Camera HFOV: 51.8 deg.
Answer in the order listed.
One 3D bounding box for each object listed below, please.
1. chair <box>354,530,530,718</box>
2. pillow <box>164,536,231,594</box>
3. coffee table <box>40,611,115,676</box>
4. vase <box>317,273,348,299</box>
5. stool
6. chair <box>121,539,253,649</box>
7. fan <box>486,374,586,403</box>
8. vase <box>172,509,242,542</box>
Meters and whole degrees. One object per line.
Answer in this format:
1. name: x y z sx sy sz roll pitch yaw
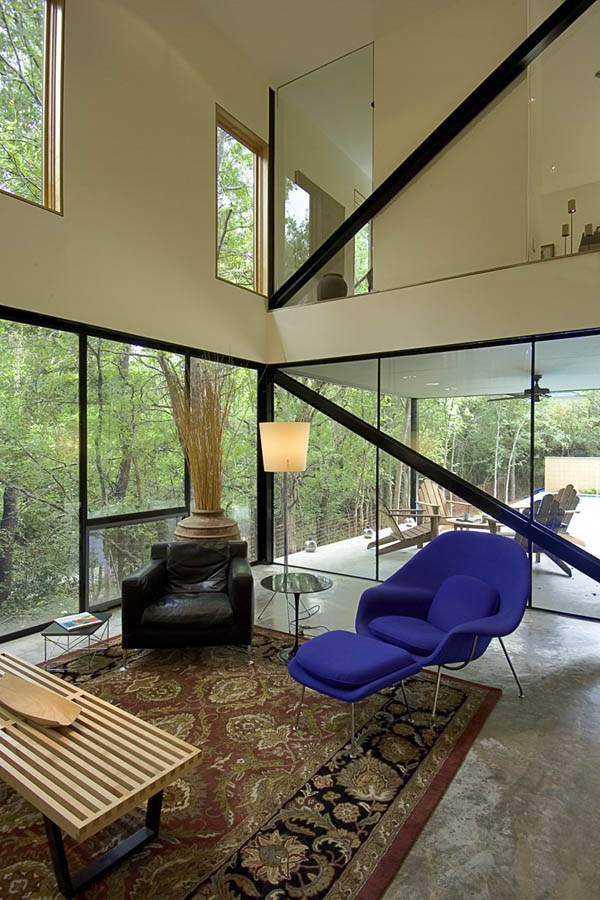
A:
1. chair: 0.860 0.780 3.265 0.805 0.837 0.928 -3 3 -36
2. pillow: -0.690 0.784 4.162 0.321 0.326 0.109 -1 -25 -10
3. coffee table: -1.352 1.147 3.739 0.298 0.219 0.443 3 -2 9
4. vase: 0.288 -1.489 5.787 0.276 0.350 0.285 2 1 -1
5. stool: 0.240 1.021 2.785 0.442 0.229 0.458 -7 10 -43
6. chair: -0.693 0.859 3.875 0.592 0.440 0.593 0 -5 -3
7. fan: 1.640 -0.452 4.611 0.485 0.204 0.051 4 5 43
8. vase: -0.690 0.555 4.504 0.284 0.196 0.276 1 0 -16
